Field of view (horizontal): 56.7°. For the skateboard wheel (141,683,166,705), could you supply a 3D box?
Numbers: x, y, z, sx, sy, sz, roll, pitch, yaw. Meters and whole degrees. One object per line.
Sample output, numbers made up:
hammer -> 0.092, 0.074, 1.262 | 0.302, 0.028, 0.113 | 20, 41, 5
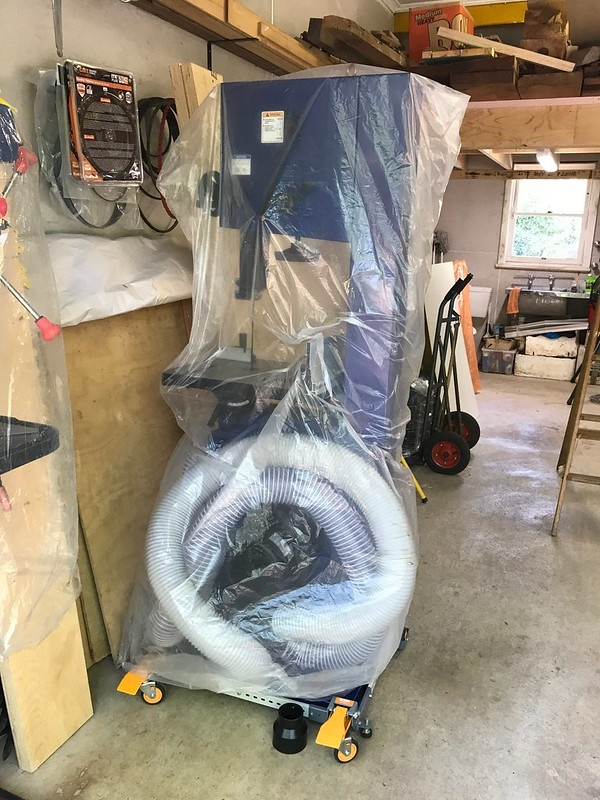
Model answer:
skateboard wheel -> -0.466, 0.930, 1.757 | 0.073, 0.086, 0.043 | 0, 12, 3

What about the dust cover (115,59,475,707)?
dust cover -> -0.010, -0.060, 1.807 | 0.824, 1.793, 0.762 | 2, -3, 9
